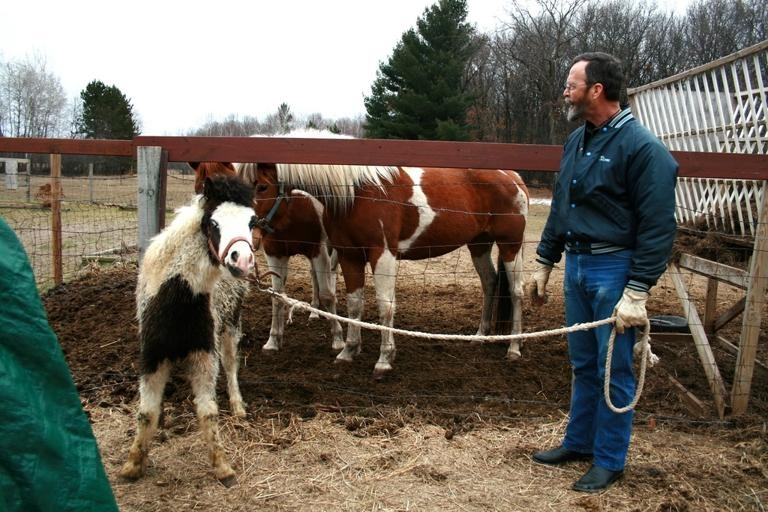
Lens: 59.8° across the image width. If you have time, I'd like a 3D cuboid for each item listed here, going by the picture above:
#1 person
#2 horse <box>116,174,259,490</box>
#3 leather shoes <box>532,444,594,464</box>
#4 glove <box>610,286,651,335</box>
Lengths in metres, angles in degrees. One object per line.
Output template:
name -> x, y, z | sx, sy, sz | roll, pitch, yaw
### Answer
person -> 1.985, 0.143, 6.137 | 1.196, 3.930, 0.628 | 5, 9, 26
horse -> -1.800, 0.656, 6.224 | 1.246, 2.773, 0.588 | 1, 8, 1
leather shoes -> 1.692, 1.931, 6.493 | 0.597, 0.253, 0.211 | 1, 8, 1
glove -> 2.180, 0.476, 5.918 | 0.287, 0.412, 0.186 | 4, 9, 17
